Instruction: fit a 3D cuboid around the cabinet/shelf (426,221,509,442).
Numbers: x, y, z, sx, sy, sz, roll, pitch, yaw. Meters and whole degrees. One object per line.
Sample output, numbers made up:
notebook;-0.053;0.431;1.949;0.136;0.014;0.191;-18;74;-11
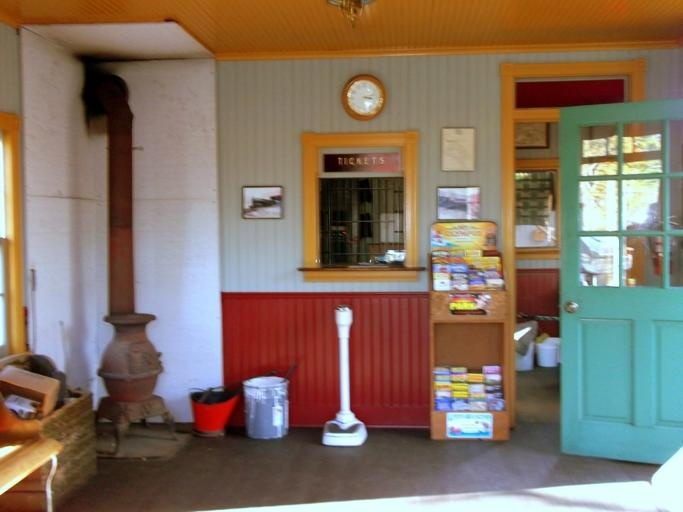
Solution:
cabinet/shelf;1.124;0.625;5.158;0.728;1.775;0.624;0;11;8

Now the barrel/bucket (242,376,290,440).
barrel/bucket;-0.649;1.318;5.297;0.488;0.460;0.465;-1;1;0

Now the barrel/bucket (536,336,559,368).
barrel/bucket;2.480;1.163;7.296;0.323;0.300;0.312;0;4;0

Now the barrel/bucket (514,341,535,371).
barrel/bucket;2.167;1.196;7.213;0.308;0.303;0.307;0;5;0
